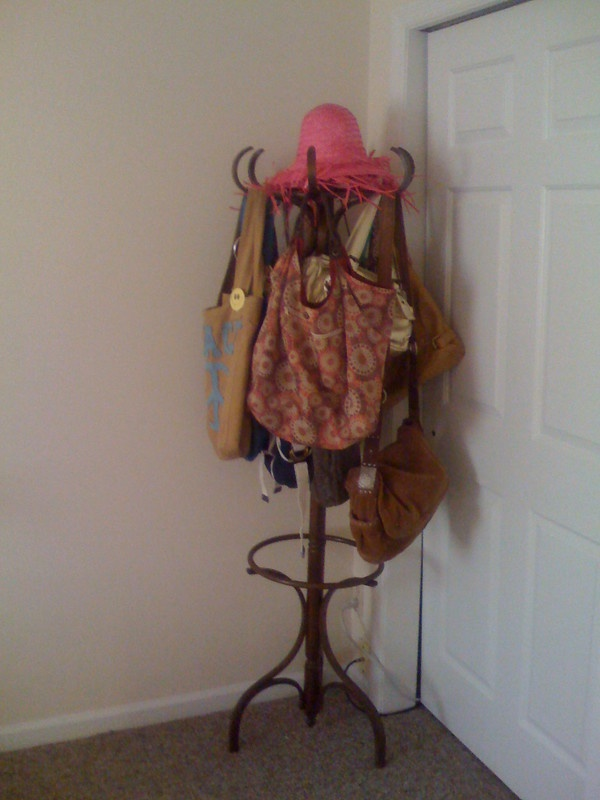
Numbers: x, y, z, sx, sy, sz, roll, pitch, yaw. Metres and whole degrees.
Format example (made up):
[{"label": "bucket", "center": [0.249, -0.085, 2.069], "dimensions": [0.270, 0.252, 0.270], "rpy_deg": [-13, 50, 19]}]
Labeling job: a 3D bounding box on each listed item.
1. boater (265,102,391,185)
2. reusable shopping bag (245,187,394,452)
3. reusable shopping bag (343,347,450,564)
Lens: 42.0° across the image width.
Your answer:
[{"label": "boater", "center": [0.064, -0.520, 1.615], "dimensions": [0.260, 0.179, 0.171], "rpy_deg": [-1, 14, -3]}, {"label": "reusable shopping bag", "center": [0.040, -0.153, 1.602], "dimensions": [0.298, 0.491, 0.177], "rpy_deg": [1, 14, 7]}, {"label": "reusable shopping bag", "center": [0.202, 0.099, 1.716], "dimensions": [0.161, 0.452, 0.330], "rpy_deg": [10, 27, 33]}]
